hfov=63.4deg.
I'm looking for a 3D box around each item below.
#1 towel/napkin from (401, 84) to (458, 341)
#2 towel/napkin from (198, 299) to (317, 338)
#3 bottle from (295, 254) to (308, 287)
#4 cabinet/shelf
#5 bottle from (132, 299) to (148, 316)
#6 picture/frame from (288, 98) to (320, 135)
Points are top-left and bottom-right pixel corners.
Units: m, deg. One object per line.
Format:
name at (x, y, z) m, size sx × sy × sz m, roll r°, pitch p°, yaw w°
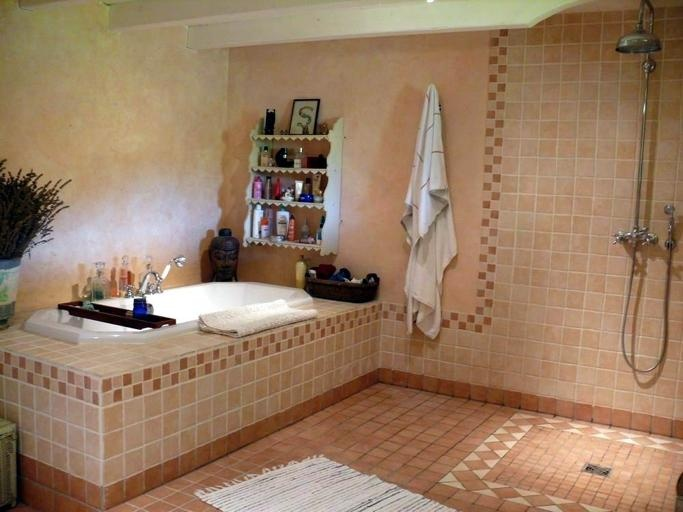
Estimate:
towel/napkin at (0.722, -0.332, 4.503) m, size 0.464 × 2.068 × 0.307 m, roll 3°, pitch 9°, yaw 6°
towel/napkin at (-0.598, 0.433, 3.830) m, size 0.303 × 0.078 × 0.518 m, roll 13°, pitch 17°, yaw 39°
bottle at (-0.369, 0.147, 5.016) m, size 0.108 × 0.281 × 0.228 m, roll 1°, pitch 9°, yaw -6°
cabinet/shelf at (-0.413, -0.638, 4.996) m, size 1.140 × 1.596 × 0.407 m, roll 4°, pitch 3°, yaw 31°
bottle at (-1.368, 0.340, 3.735) m, size 0.086 × 0.110 × 0.173 m, roll -2°, pitch 10°, yaw -23°
picture/frame at (-0.328, -1.246, 4.960) m, size 0.290 × 0.427 × 0.030 m, roll 9°, pitch 3°, yaw 27°
